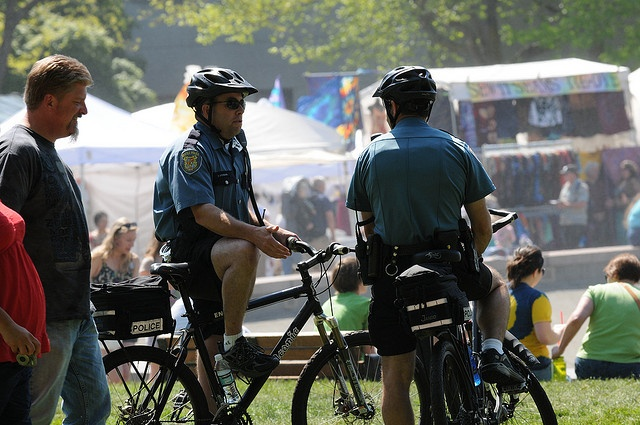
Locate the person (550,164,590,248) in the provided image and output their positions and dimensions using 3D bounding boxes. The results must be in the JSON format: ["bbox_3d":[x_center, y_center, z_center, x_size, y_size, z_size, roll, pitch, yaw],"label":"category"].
[{"bbox_3d":[5.195,-0.111,22.773,0.701,1.772,0.381,-4,-1,12],"label":"person"}]

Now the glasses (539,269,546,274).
[{"bbox_3d":[3.253,0.859,16.121,0.128,0.129,0.041,0,40,2],"label":"glasses"}]

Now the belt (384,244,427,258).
[{"bbox_3d":[1.046,0.465,13.443,0.530,0.151,0.075,-4,-1,0],"label":"belt"}]
